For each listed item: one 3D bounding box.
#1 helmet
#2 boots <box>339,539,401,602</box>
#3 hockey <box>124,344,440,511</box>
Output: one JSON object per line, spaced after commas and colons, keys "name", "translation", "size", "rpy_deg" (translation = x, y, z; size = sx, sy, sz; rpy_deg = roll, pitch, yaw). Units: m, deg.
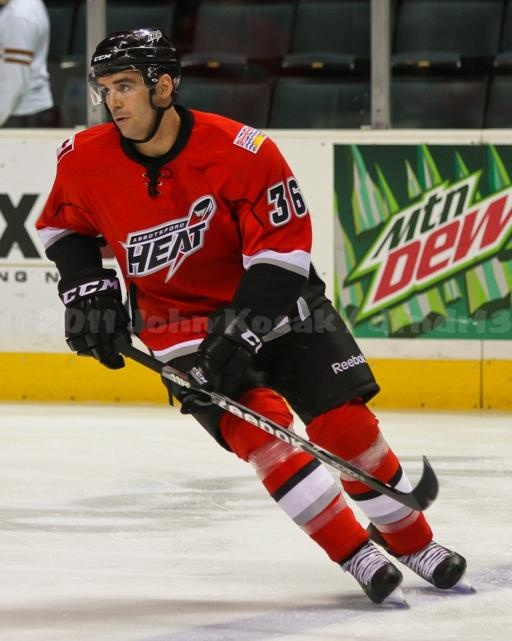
{"name": "helmet", "translation": [-0.225, -0.490, 1.513], "size": [0.178, 0.116, 0.129], "rpy_deg": [-20, 23, -34]}
{"name": "boots", "translation": [0.215, 0.470, 1.495], "size": [0.072, 0.052, 0.148], "rpy_deg": [33, -2, -15]}
{"name": "hockey", "translation": [0.050, 0.298, 2.003], "size": [1.123, 0.106, 0.164], "rpy_deg": [22, 21, 14]}
